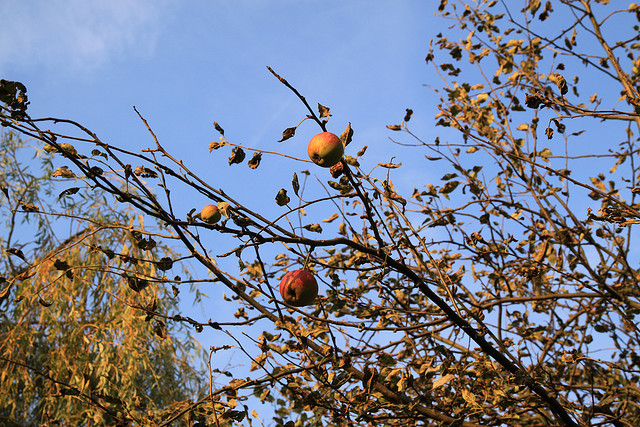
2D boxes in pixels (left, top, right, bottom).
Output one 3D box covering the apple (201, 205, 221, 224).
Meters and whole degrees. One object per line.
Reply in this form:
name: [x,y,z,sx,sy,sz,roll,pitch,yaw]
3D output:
apple: [-1.052,0.044,9.578,0.179,0.297,0.156,10,-69,-8]
